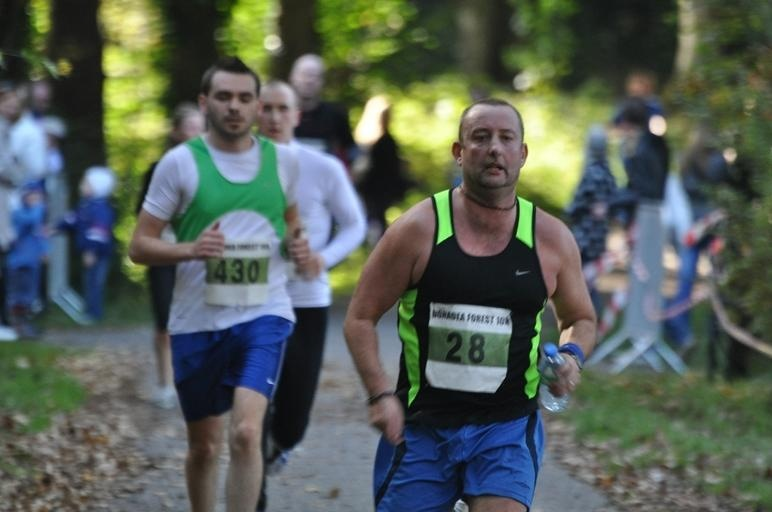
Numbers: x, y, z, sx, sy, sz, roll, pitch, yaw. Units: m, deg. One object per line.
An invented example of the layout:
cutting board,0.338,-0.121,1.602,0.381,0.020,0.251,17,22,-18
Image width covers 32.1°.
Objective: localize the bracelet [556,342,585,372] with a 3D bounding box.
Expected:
bracelet,1.170,0.651,8.612,0.080,0.155,0.169,-26,-28,9
